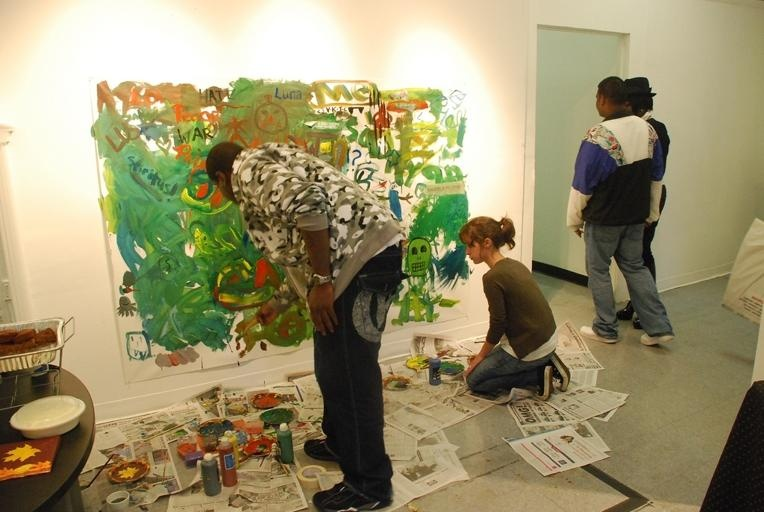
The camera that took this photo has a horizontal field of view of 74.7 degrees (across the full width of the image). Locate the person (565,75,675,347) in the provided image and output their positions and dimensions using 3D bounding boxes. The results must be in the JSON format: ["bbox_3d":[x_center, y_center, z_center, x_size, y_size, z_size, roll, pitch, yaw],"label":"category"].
[{"bbox_3d":[1.972,-0.356,4.165,0.793,2.146,0.612,1,19,19],"label":"person"}]

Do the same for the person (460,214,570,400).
[{"bbox_3d":[0.915,0.360,3.459,0.711,1.232,0.405,-2,19,10],"label":"person"}]

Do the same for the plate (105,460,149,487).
[{"bbox_3d":[-1.457,1.239,2.866,0.128,0.029,0.130,10,12,41],"label":"plate"}]

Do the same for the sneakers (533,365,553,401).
[{"bbox_3d":[1.117,0.875,3.478,0.112,0.259,0.090,9,15,35],"label":"sneakers"}]

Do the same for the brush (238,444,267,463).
[{"bbox_3d":[-0.780,1.186,3.009,0.075,0.019,0.112,12,18,27],"label":"brush"}]

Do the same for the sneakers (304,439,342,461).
[{"bbox_3d":[-0.353,1.164,3.018,0.193,0.068,0.101,16,26,9],"label":"sneakers"}]

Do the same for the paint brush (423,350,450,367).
[{"bbox_3d":[0.432,0.795,3.949,0.160,0.148,0.099,-1,9,-16],"label":"paint brush"}]

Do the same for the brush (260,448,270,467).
[{"bbox_3d":[-0.703,1.206,2.995,0.040,0.042,0.184,10,-3,-11],"label":"brush"}]

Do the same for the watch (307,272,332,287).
[{"bbox_3d":[-0.320,0.120,2.512,0.083,0.049,0.083,-4,-4,33],"label":"watch"}]
